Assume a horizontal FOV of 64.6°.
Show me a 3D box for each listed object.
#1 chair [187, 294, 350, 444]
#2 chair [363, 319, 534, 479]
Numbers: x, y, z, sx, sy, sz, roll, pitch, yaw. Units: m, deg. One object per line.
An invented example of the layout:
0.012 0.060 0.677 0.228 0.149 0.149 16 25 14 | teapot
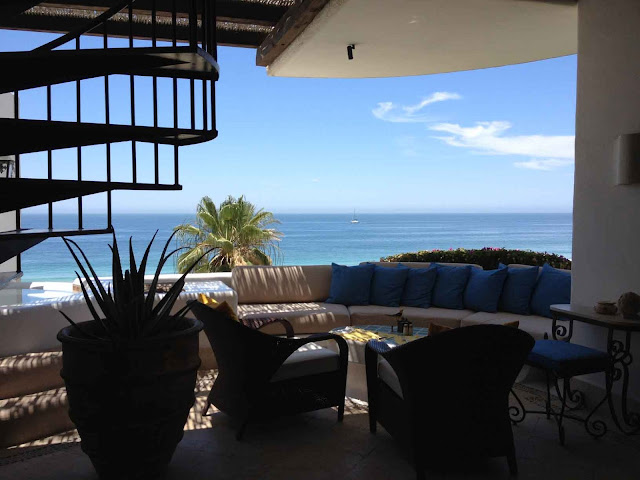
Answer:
-0.365 0.832 3.966 1.118 0.953 0.929 -2 3 -34 | chair
0.807 0.878 3.495 0.921 0.896 0.993 -1 4 -12 | chair
